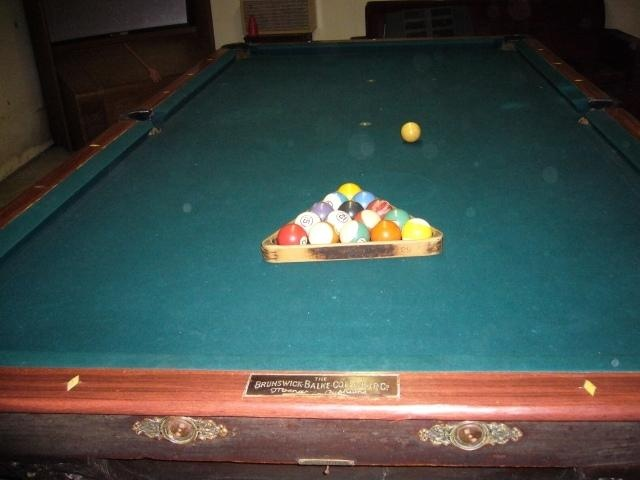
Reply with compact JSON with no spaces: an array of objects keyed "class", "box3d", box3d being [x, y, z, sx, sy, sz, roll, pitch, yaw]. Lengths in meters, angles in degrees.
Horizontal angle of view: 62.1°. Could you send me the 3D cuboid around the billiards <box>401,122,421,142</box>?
[{"class":"billiards","box3d":[0.409,-0.482,2.389,0.090,0.049,0.086,-2,-82,9]}]
